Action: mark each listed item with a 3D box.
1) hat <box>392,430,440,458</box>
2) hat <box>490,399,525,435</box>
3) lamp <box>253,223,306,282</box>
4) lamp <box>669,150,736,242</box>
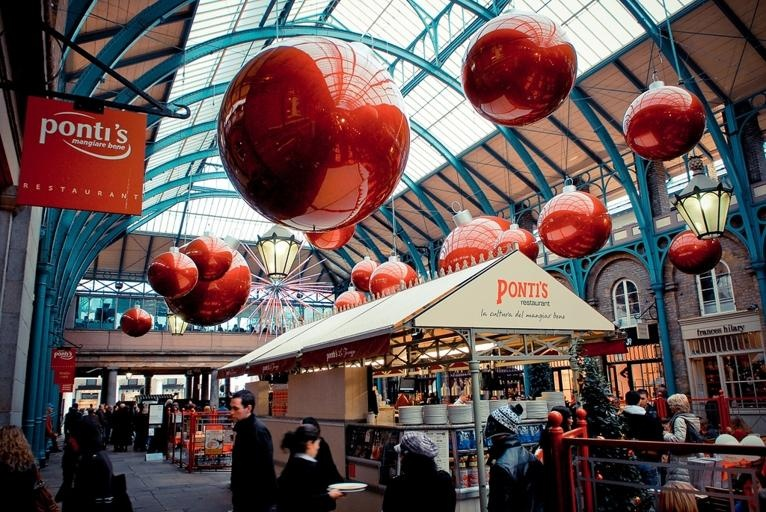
[{"bbox_3d":[0.350,2.044,5.711,0.436,0.187,0.312,-2,-17,29],"label":"hat"},{"bbox_3d":[1.280,1.765,5.654,0.376,0.296,0.244,-1,-16,-5],"label":"hat"},{"bbox_3d":[-2.036,-0.112,10.284,0.920,1.004,0.926,-12,-23,17],"label":"lamp"},{"bbox_3d":[5.005,-0.825,8.261,0.724,1.033,0.431,-10,-18,25],"label":"lamp"}]
